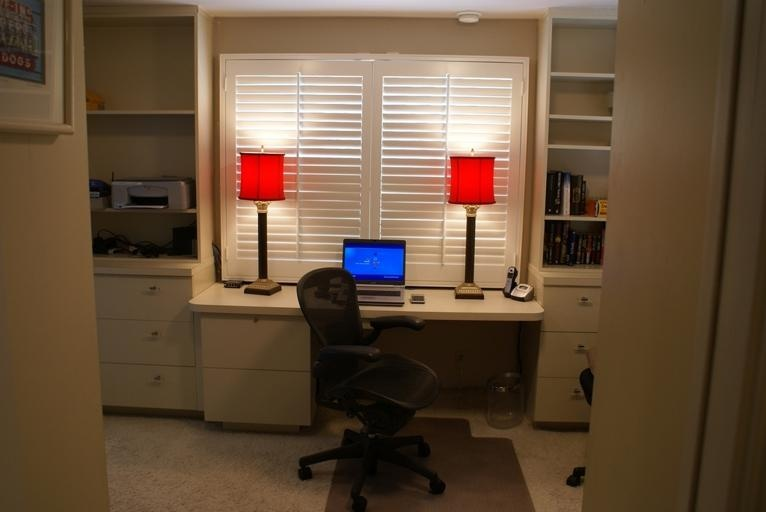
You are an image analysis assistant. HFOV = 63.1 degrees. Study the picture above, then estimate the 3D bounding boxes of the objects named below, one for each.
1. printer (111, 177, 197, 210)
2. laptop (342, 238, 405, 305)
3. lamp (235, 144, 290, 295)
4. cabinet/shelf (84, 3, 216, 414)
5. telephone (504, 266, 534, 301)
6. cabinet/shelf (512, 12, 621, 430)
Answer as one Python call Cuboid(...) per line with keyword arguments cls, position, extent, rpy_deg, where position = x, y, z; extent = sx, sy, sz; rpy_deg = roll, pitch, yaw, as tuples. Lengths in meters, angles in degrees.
Cuboid(cls="printer", position=(-1.356, -0.375, 3.696), extent=(0.474, 0.194, 0.274), rpy_deg=(0, 5, -22))
Cuboid(cls="laptop", position=(-0.036, 0.062, 3.783), extent=(0.446, 0.406, 0.337), rpy_deg=(0, 3, 0))
Cuboid(cls="lamp", position=(-0.731, -0.208, 3.786), extent=(0.256, 0.861, 0.299), rpy_deg=(1, 5, -7))
Cuboid(cls="cabinet/shelf", position=(-1.460, -0.253, 3.814), extent=(0.816, 2.423, 0.586), rpy_deg=(1, 5, -8))
Cuboid(cls="telephone", position=(0.818, 0.159, 3.790), extent=(0.116, 0.191, 0.208), rpy_deg=(-11, 16, -33))
Cuboid(cls="cabinet/shelf", position=(1.108, -0.195, 3.735), extent=(0.466, 2.425, 0.520), rpy_deg=(3, 5, 13))
